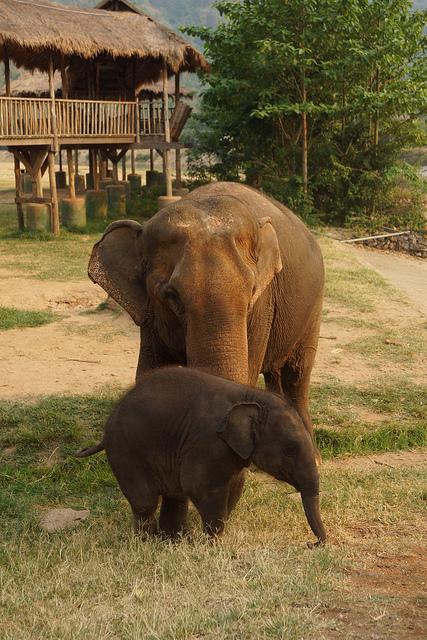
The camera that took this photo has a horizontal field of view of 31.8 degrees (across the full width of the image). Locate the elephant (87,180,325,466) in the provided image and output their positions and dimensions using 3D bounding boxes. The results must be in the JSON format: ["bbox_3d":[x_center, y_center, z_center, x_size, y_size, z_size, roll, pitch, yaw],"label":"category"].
[{"bbox_3d":[0.001,0.048,4.941,1.260,1.619,2.745,-1,-1,5],"label":"elephant"}]

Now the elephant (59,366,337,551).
[{"bbox_3d":[-0.116,0.765,3.986,1.488,0.970,0.648,2,-1,16],"label":"elephant"}]
